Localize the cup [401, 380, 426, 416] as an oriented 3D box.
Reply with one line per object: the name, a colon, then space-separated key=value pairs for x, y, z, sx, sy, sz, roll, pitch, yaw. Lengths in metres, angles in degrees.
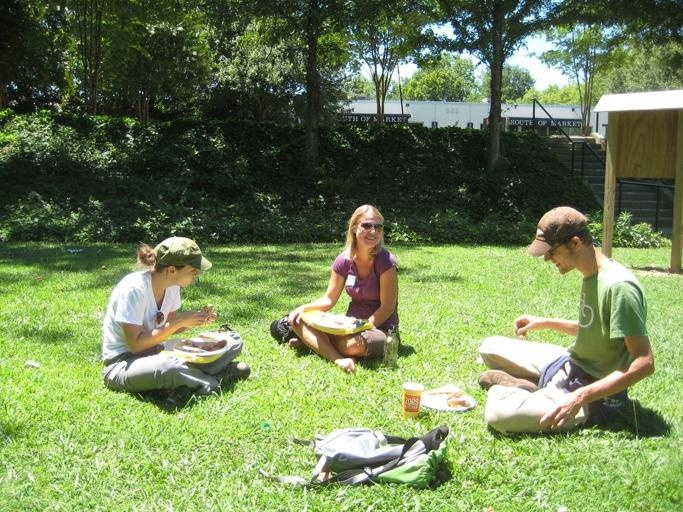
cup: x=0.685 y=1.376 z=6.951 sx=0.181 sy=0.334 sz=0.197 roll=-1 pitch=7 yaw=0

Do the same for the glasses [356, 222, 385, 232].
glasses: x=0.323 y=-0.320 z=8.007 sx=0.277 sy=0.113 sz=0.129 roll=-2 pitch=7 yaw=-5

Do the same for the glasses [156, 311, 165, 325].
glasses: x=-1.829 y=0.633 z=7.248 sx=0.078 sy=0.116 sz=0.039 roll=4 pitch=-4 yaw=-39

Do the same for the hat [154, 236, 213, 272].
hat: x=-1.528 y=0.011 z=7.283 sx=0.614 sy=0.326 sz=0.450 roll=-9 pitch=-9 yaw=26

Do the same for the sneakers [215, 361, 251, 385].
sneakers: x=-1.110 y=1.192 z=7.441 sx=0.182 sy=0.130 sz=0.253 roll=14 pitch=18 yaw=38

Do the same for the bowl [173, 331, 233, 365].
bowl: x=-1.444 y=1.007 z=7.353 sx=0.495 sy=0.230 sz=0.614 roll=2 pitch=8 yaw=26

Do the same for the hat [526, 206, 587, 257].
hat: x=1.942 y=-0.265 z=6.648 sx=0.537 sy=0.321 sz=0.364 roll=-25 pitch=13 yaw=2

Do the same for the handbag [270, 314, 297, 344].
handbag: x=-0.687 y=0.903 z=8.410 sx=0.345 sy=0.264 sz=0.162 roll=46 pitch=-1 yaw=33

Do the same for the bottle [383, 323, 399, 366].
bottle: x=0.541 y=1.005 z=7.854 sx=0.154 sy=0.385 sz=0.187 roll=-2 pitch=7 yaw=-3

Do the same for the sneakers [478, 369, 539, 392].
sneakers: x=1.672 y=1.268 z=7.272 sx=0.573 sy=0.271 sz=0.212 roll=5 pitch=40 yaw=29

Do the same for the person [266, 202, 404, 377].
person: x=0.143 y=0.283 z=8.019 sx=1.035 sy=1.692 sz=1.486 roll=8 pitch=8 yaw=40

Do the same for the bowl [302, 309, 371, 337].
bowl: x=-0.065 y=0.780 z=8.052 sx=0.847 sy=0.214 sz=0.382 roll=2 pitch=8 yaw=29
